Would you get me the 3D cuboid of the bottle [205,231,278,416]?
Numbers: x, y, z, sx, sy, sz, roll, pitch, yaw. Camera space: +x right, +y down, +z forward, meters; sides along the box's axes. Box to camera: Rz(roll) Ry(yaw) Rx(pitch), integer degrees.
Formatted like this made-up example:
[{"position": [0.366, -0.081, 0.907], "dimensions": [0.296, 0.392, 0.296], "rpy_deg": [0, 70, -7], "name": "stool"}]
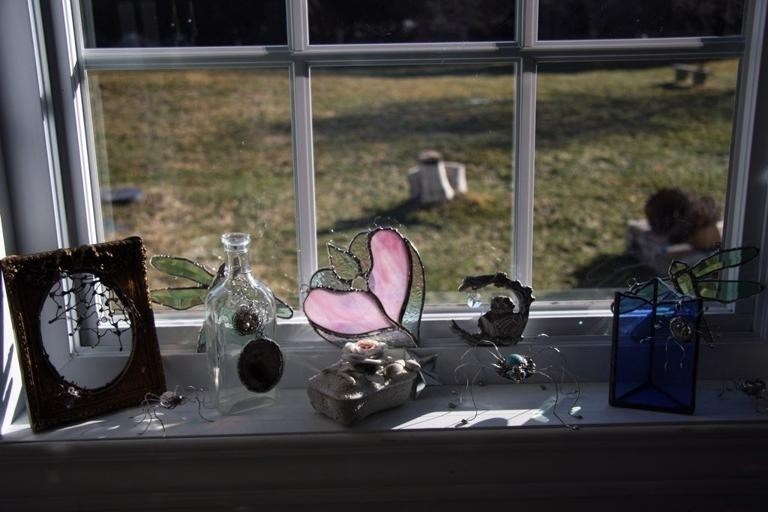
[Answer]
[{"position": [-0.327, 0.152, 1.834], "dimensions": [0.162, 0.399, 0.085], "rpy_deg": [-6, 14, -15], "name": "bottle"}]
